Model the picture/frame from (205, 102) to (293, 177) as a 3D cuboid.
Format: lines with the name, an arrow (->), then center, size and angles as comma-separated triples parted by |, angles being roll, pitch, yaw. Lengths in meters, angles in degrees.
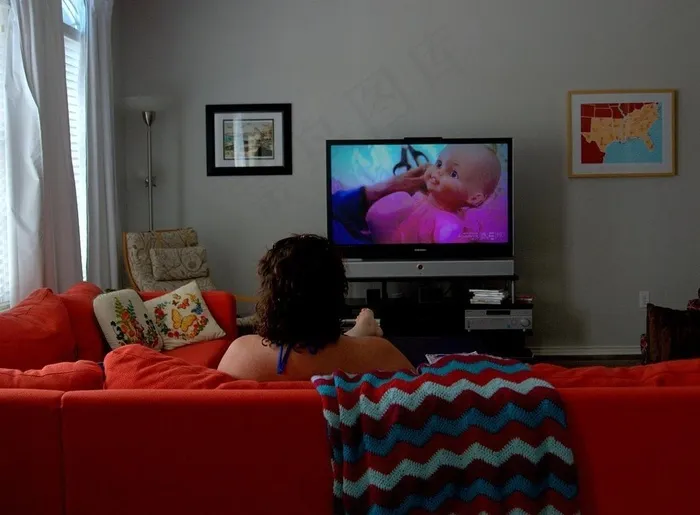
picture/frame -> -0.806, -1.006, 4.914 | 0.562, 0.497, 0.047 | 1, 2, -1

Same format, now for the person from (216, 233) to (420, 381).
person -> -0.100, 0.380, 2.550 | 0.668, 0.794, 1.360 | 0, -7, 3

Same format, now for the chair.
chair -> -1.121, 0.320, 4.433 | 1.003, 0.895, 0.695 | 13, 13, 40

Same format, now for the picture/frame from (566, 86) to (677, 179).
picture/frame -> 2.191, -1.029, 4.743 | 0.689, 0.589, 0.025 | -1, 4, 3

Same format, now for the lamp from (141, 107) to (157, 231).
lamp -> -1.634, -0.717, 4.909 | 0.145, 0.971, 0.344 | -5, 10, -17

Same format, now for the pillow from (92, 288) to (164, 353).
pillow -> -1.209, 0.348, 3.304 | 0.113, 0.393, 0.382 | -25, -11, 21

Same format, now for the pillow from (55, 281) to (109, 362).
pillow -> -1.381, 0.322, 3.116 | 0.129, 0.345, 0.335 | -14, -33, 8
